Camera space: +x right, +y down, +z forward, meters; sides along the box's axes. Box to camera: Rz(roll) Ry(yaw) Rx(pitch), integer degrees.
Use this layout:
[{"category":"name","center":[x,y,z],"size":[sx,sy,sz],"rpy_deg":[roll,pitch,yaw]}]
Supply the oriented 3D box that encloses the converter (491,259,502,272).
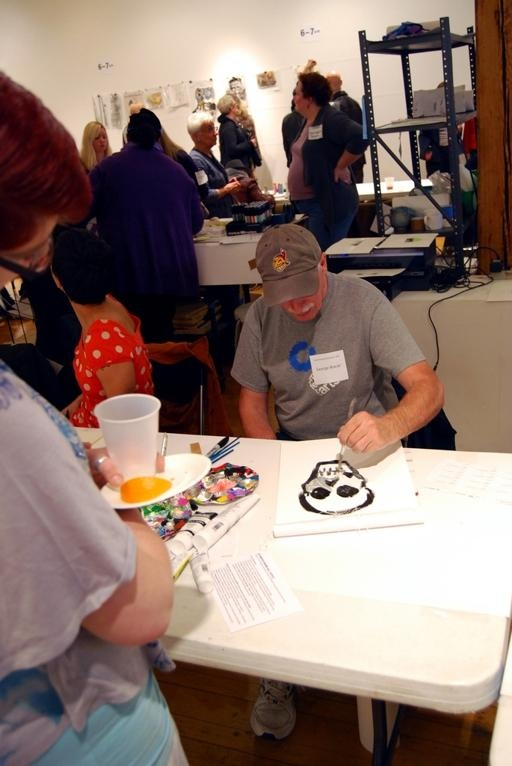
[{"category":"converter","center":[1.292,-0.620,2.947],"size":[0.062,0.085,0.060],"rpy_deg":[2,17,28]}]

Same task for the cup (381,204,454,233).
[{"category":"cup","center":[0.936,-0.966,3.164],"size":[0.323,0.128,0.187],"rpy_deg":[-16,24,-21]}]

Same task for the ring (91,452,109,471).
[{"category":"ring","center":[-0.203,0.102,0.708],"size":[0.014,0.015,0.015],"rpy_deg":[20,23,-9]}]

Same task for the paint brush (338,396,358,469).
[{"category":"paint brush","center":[0.244,0.129,1.449],"size":[0.027,0.158,0.027],"rpy_deg":[12,0,-23]}]

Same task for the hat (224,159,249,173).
[{"category":"hat","center":[-0.215,-2.093,5.334],"size":[0.218,0.098,0.260],"rpy_deg":[-2,17,15]}]

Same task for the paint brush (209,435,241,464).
[{"category":"paint brush","center":[-0.091,0.186,1.547],"size":[0.036,0.014,0.122],"rpy_deg":[0,18,30]}]

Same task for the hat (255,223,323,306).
[{"category":"hat","center":[0.101,-0.365,1.684],"size":[0.200,0.219,0.221],"rpy_deg":[-10,18,8]}]

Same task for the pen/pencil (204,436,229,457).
[{"category":"pen/pencil","center":[-0.107,0.180,1.559],"size":[0.021,0.017,0.101],"rpy_deg":[15,21,15]}]

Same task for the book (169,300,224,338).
[{"category":"book","center":[-0.469,-0.496,4.377],"size":[0.347,0.118,0.281],"rpy_deg":[-6,21,18]}]

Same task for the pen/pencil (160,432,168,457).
[{"category":"pen/pencil","center":[-0.266,0.179,1.579],"size":[0.011,0.081,0.011],"rpy_deg":[2,14,-24]}]
